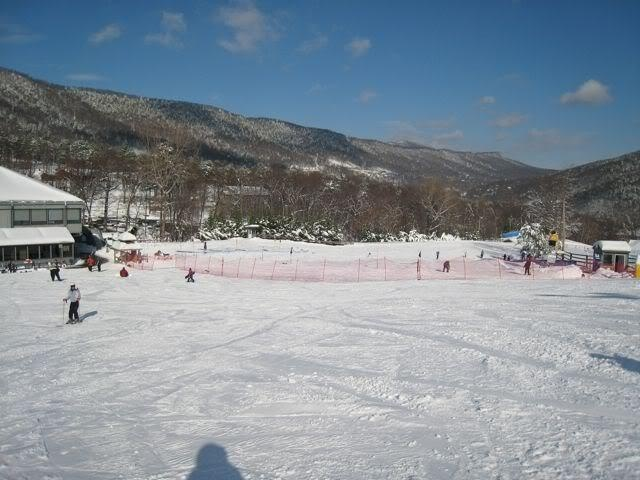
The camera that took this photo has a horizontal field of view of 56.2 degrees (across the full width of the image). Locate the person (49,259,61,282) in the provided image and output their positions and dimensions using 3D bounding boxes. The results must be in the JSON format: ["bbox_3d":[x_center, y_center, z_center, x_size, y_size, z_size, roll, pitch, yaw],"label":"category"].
[{"bbox_3d":[-18.454,2.216,41.689,0.603,1.193,2.364,-5,9,-24],"label":"person"}]

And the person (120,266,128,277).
[{"bbox_3d":[-14.366,2.413,43.741,0.395,0.720,0.381,2,17,-7],"label":"person"}]

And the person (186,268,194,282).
[{"bbox_3d":[-9.194,2.599,42.351,0.554,0.877,0.452,14,39,-1],"label":"person"}]

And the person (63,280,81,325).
[{"bbox_3d":[-13.128,3.455,31.727,0.692,2.027,1.379,-5,9,-22],"label":"person"}]

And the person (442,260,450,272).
[{"bbox_3d":[9.972,2.152,47.270,0.547,0.952,1.800,0,8,11],"label":"person"}]

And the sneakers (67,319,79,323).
[{"bbox_3d":[-13.059,4.369,31.632,0.343,0.090,0.272,7,19,7],"label":"sneakers"}]
